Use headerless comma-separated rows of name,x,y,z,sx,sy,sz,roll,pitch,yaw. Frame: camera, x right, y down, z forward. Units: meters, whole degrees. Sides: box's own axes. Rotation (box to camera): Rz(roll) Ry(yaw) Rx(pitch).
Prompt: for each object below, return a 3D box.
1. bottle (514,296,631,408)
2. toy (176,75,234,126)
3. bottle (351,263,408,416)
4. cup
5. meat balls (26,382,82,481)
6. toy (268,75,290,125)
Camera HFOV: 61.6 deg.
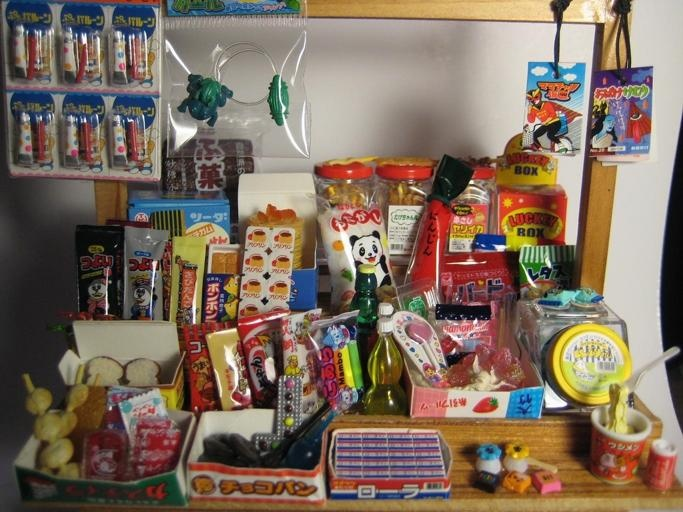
bottle,0.550,0.225,1.371,0.250,0.244,0.183,2,11,17
toy,-0.360,-0.409,1.504,0.124,0.128,0.044,24,-9,-17
bottle,0.107,0.206,1.351,0.104,0.348,0.111,3,28,-2
cup,0.605,0.411,1.254,0.114,0.150,0.088,2,11,17
meat balls,-0.614,0.367,1.235,0.127,0.191,0.187,-5,11,-19
toy,-0.167,-0.417,1.542,0.038,0.128,0.057,4,12,26
